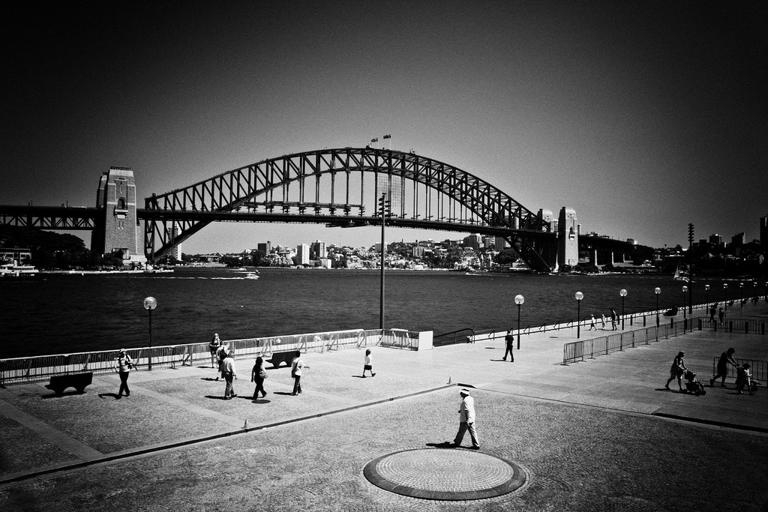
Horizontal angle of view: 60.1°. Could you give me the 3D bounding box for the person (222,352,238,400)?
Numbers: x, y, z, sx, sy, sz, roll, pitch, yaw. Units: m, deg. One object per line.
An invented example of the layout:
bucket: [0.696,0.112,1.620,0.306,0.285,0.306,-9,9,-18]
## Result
person: [-5.602,4.257,23.891,0.482,1.458,1.371,-1,7,-13]

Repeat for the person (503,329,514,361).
person: [5.941,4.225,31.598,0.556,1.379,2.377,2,6,10]

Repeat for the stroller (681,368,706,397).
stroller: [11.659,4.699,24.987,1.007,1.297,0.810,-5,-4,29]

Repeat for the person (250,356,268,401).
person: [-4.481,4.265,23.782,0.505,1.628,1.295,-1,7,-11]
